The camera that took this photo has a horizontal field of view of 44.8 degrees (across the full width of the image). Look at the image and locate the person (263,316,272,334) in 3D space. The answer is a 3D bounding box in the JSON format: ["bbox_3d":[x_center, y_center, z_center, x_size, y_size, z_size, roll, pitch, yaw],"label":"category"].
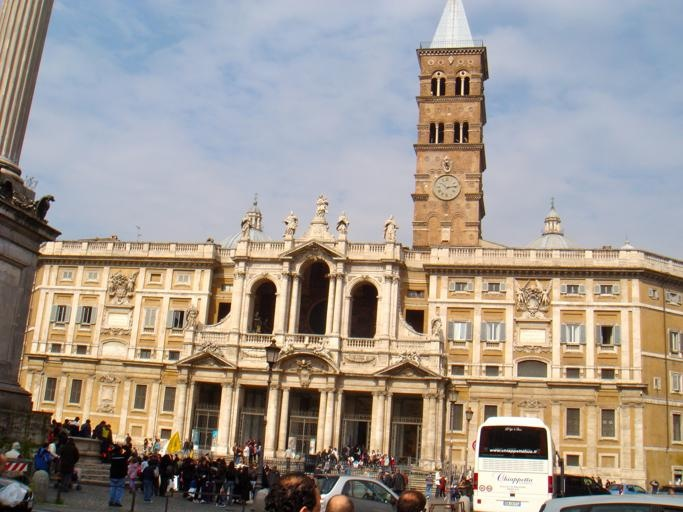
[{"bbox_3d":[-6.170,5.626,68.129,0.609,0.687,2.376,15,-7,0],"label":"person"}]

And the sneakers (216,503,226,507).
[{"bbox_3d":[-5.413,11.093,37.031,0.573,0.220,0.193,-10,-14,37],"label":"sneakers"}]
